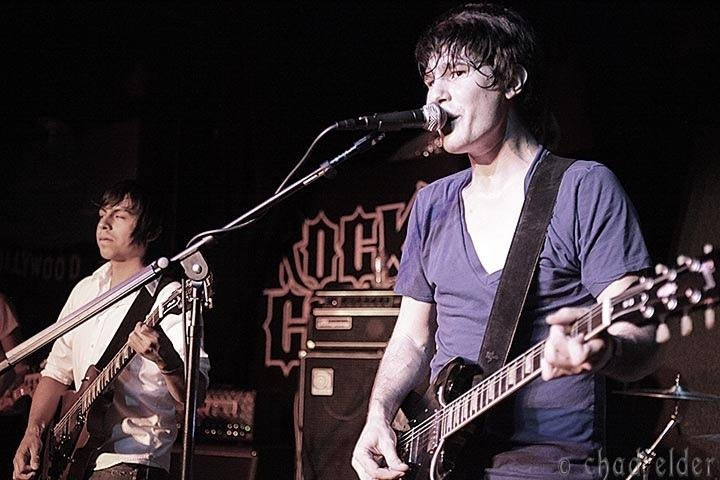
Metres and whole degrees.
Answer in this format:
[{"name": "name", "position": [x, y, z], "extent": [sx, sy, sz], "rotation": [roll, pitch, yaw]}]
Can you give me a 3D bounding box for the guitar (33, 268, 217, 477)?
[{"name": "guitar", "position": [-1.362, 0.863, 3.478], "extent": [0.772, 1.569, 0.239], "rotation": [11, -17, 46]}]
